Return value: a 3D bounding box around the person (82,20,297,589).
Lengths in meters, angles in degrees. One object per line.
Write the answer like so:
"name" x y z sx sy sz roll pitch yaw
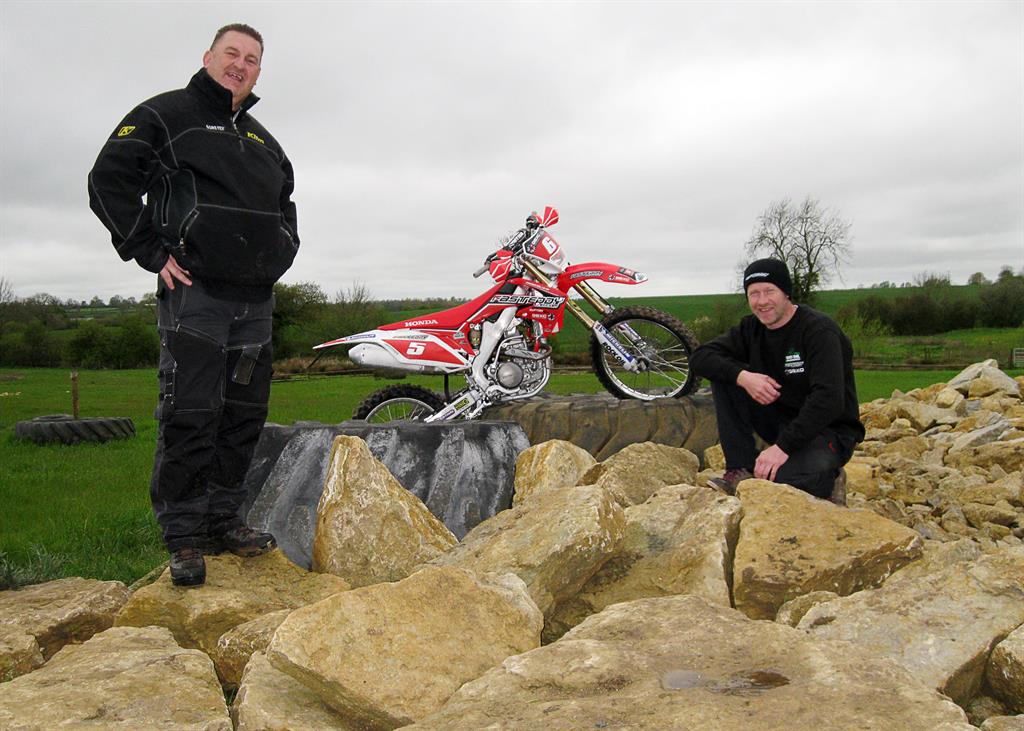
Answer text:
"person" -1.939 -0.412 4.961 0.569 3.385 1.129 4 11 42

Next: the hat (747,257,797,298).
"hat" 1.738 -0.589 5.249 0.316 0.297 0.459 -1 10 17

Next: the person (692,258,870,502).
"person" 1.841 0.093 5.330 1.045 1.650 0.669 1 9 26
